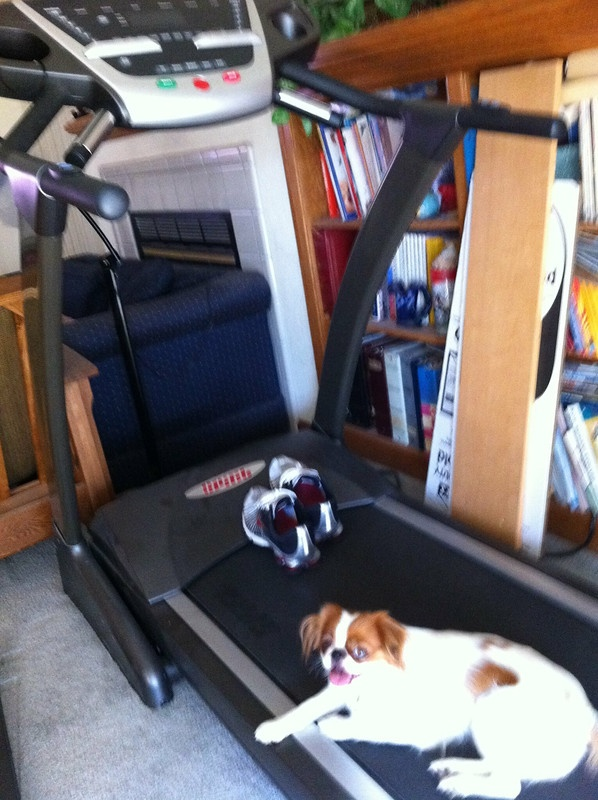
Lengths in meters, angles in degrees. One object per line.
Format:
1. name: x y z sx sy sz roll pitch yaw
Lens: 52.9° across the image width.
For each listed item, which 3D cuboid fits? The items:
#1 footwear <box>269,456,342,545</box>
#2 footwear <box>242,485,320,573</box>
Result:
1. footwear: 0.009 0.197 1.355 0.088 0.096 0.239 -13 44 -14
2. footwear: -0.042 0.256 1.280 0.092 0.096 0.207 -14 38 -18
